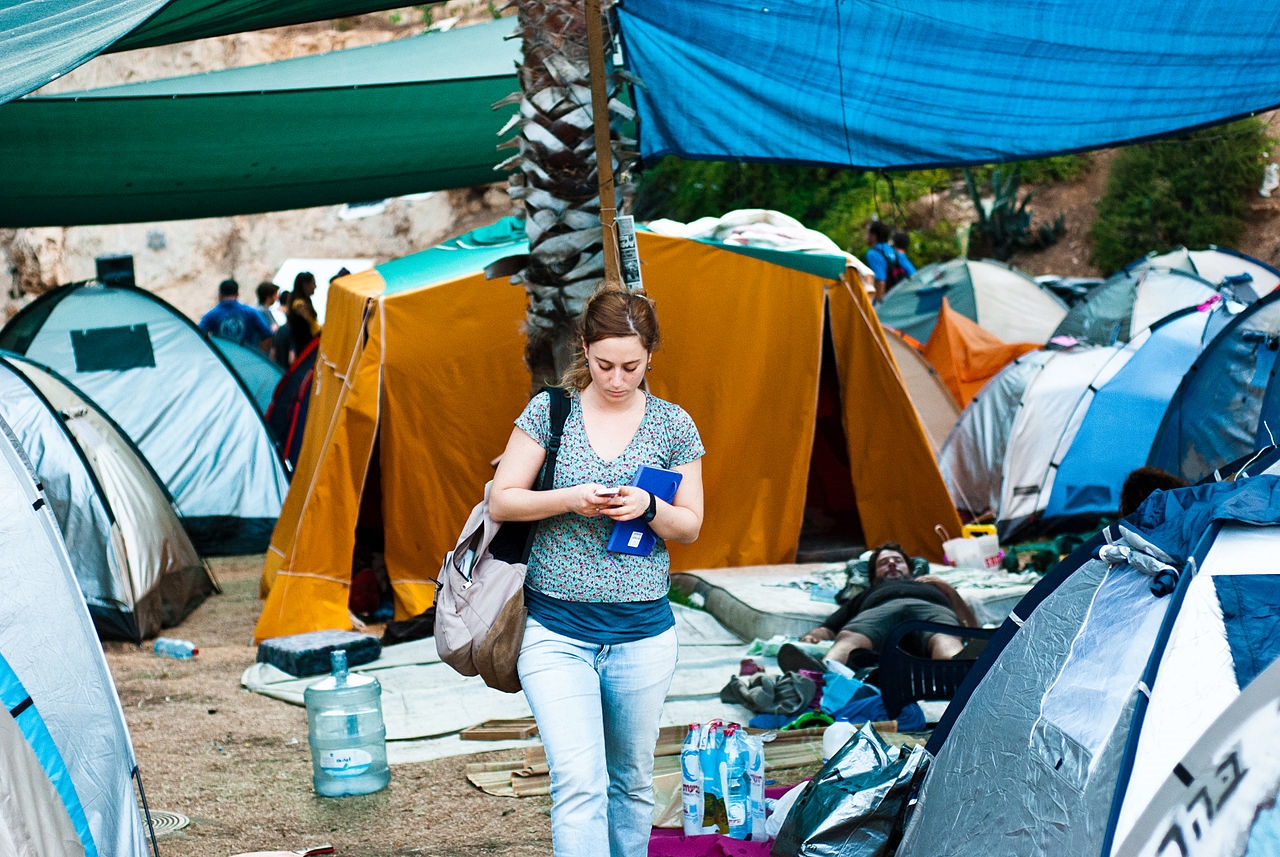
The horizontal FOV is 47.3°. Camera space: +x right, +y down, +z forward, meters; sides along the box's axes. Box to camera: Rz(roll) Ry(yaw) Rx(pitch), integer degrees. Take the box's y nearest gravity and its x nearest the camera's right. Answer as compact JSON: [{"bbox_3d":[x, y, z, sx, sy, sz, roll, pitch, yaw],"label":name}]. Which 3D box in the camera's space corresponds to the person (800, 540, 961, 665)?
[{"bbox_3d":[1.505,1.104,9.119,0.723,0.671,0.947,-5,-15,4],"label":"person"}]

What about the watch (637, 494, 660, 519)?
[{"bbox_3d":[0.059,0.369,6.584,0.072,0.100,0.107,11,-27,-21],"label":"watch"}]

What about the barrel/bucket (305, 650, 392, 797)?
[{"bbox_3d":[-1.636,1.648,8.331,0.417,0.845,0.431,-2,1,0],"label":"barrel/bucket"}]

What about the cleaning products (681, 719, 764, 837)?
[{"bbox_3d":[0.426,1.810,7.536,0.356,0.600,0.471,-2,-3,-30],"label":"cleaning products"}]

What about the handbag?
[{"bbox_3d":[-0.631,0.489,6.765,0.521,1.406,0.586,2,14,-19],"label":"handbag"}]
